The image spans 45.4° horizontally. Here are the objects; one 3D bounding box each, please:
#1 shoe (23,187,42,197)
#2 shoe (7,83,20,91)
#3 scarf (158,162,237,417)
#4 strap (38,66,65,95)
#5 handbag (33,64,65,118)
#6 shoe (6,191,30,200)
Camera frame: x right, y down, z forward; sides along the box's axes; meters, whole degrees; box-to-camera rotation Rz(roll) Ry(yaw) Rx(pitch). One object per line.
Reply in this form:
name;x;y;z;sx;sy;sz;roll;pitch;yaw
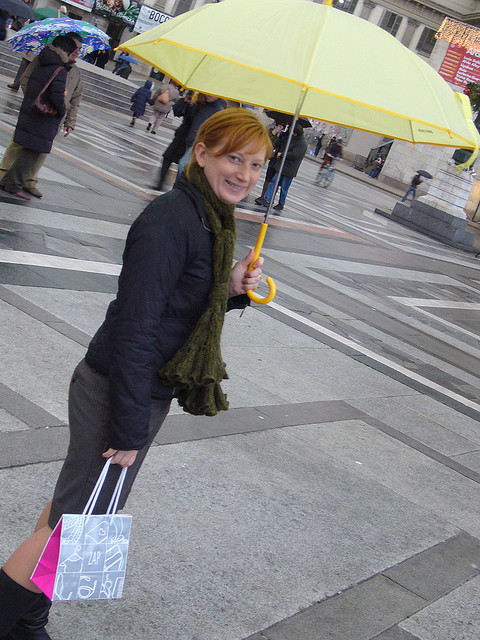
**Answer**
shoe;-2.757;-1.722;7.789;0.267;0.093;0.083;14;35;-16
shoe;-7.158;-7.440;18.304;0.303;0.208;0.581;15;17;-21
scarf;-0.057;-0.110;1.662;0.249;0.597;0.219;13;1;-7
strap;-2.283;-2.911;7.008;0.079;0.395;0.224;30;19;3
handbag;-2.186;-2.726;6.860;0.352;0.751;0.148;21;58;-25
shoe;-2.836;-1.614;7.433;0.265;0.056;0.165;2;23;-43
